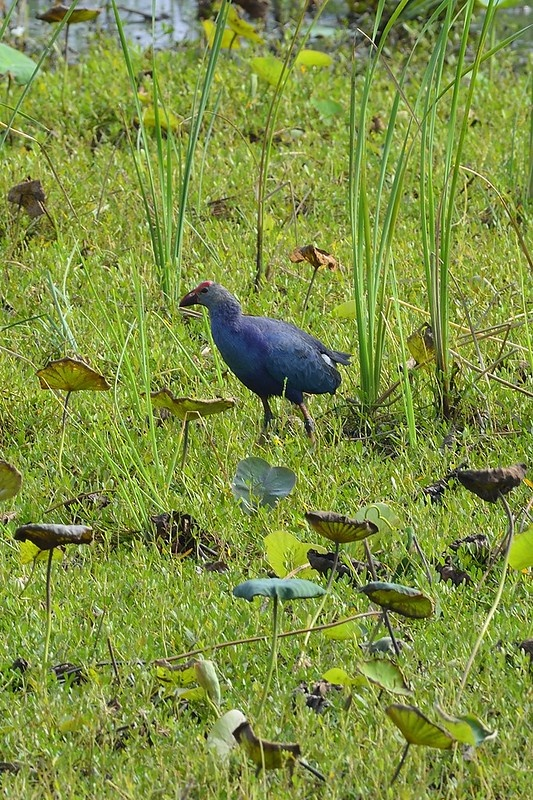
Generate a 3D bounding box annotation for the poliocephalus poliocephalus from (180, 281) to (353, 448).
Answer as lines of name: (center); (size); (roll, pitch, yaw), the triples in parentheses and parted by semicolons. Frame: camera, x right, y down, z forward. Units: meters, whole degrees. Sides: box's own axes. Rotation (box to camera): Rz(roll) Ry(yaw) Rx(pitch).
poliocephalus poliocephalus: (0.042, -0.143, 3.052); (0.699, 0.533, 0.302); (-5, 8, -33)
